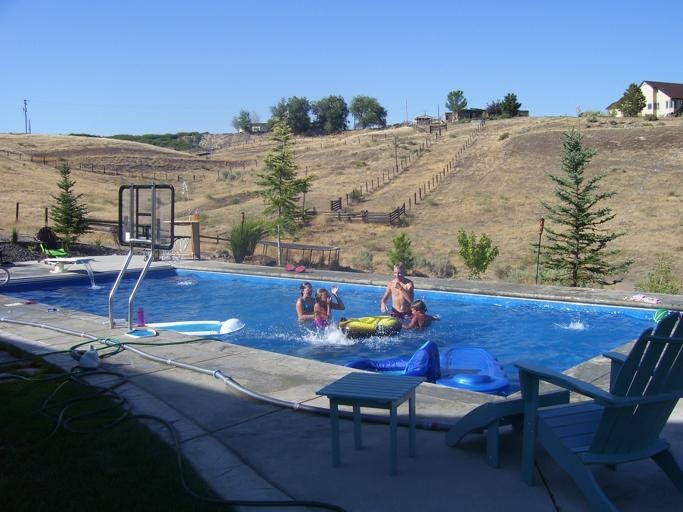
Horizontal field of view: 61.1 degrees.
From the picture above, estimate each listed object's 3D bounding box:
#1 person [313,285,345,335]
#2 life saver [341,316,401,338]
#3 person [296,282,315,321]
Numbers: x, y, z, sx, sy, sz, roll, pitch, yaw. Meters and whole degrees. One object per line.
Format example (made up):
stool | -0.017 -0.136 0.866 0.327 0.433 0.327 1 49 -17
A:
person | -0.260 0.915 11.450 0.583 0.879 1.190 1 8 -1
life saver | 0.519 1.286 10.639 0.840 0.287 0.472 -3 5 3
person | -0.718 0.920 11.770 0.357 0.830 0.755 1 8 -3
